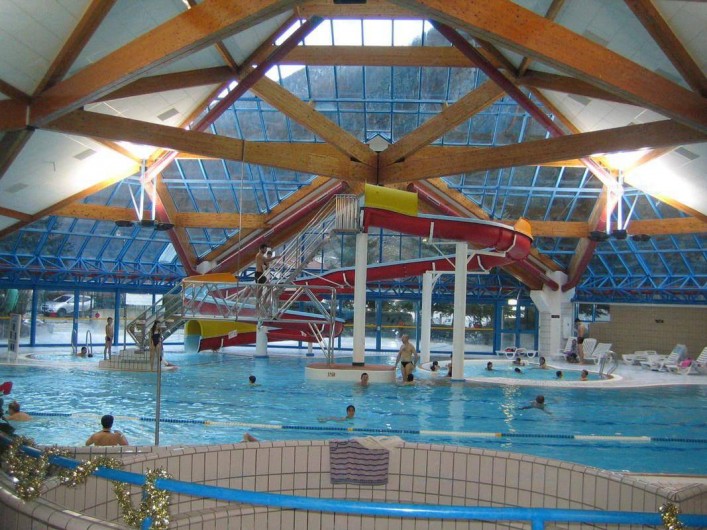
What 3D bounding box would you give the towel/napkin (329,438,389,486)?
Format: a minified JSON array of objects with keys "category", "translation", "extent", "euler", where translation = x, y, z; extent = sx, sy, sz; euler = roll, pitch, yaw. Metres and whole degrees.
[{"category":"towel/napkin","translation":[0.047,2.044,5.906],"extent":[0.643,0.456,0.162],"euler":[3,-16,2]}]
